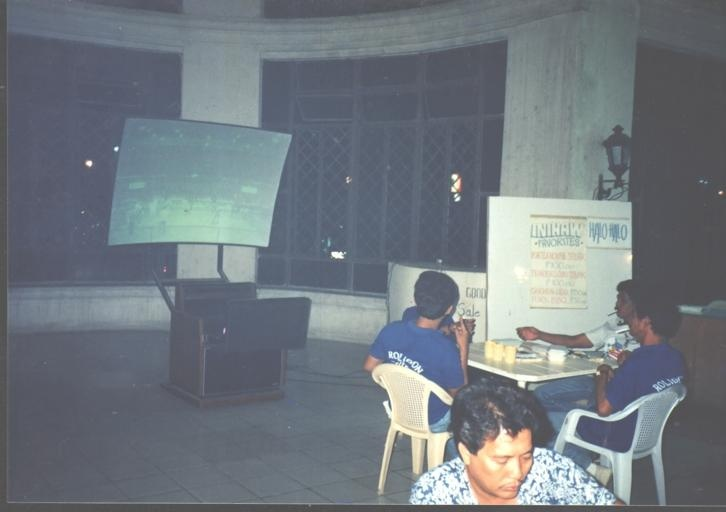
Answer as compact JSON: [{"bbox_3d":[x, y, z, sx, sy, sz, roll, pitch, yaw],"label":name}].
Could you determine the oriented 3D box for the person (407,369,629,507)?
[{"bbox_3d":[0.928,0.925,4.415,1.576,1.010,0.751,-5,10,-13],"label":"person"}]

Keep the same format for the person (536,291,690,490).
[{"bbox_3d":[2.108,1.159,6.016,1.163,1.994,0.935,12,21,22],"label":"person"}]
